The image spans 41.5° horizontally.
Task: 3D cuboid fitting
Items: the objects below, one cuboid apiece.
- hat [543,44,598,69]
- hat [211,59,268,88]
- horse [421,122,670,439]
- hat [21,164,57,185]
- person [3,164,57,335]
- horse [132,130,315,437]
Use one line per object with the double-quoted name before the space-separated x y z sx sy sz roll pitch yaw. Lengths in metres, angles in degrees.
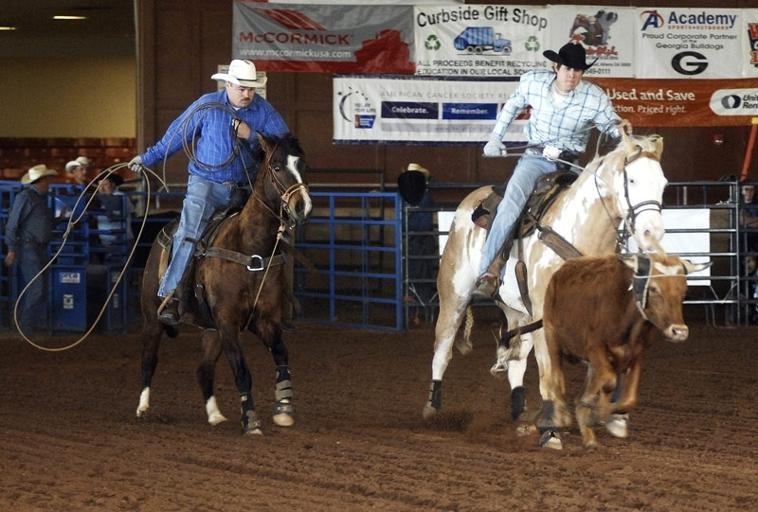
"hat" 2.015 -2.099 10.549 0.462 0.302 0.443 5 7 7
"hat" -1.479 -1.958 10.792 0.508 0.301 0.511 3 7 -11
"horse" 1.852 0.424 11.060 1.225 3.468 4.373 4 0 -22
"hat" -5.150 -1.268 15.248 0.476 0.195 0.541 -12 10 31
"person" -5.291 -0.099 15.012 0.698 2.490 0.966 2 7 -20
"horse" -1.584 0.244 10.741 1.730 3.125 1.006 10 9 43
